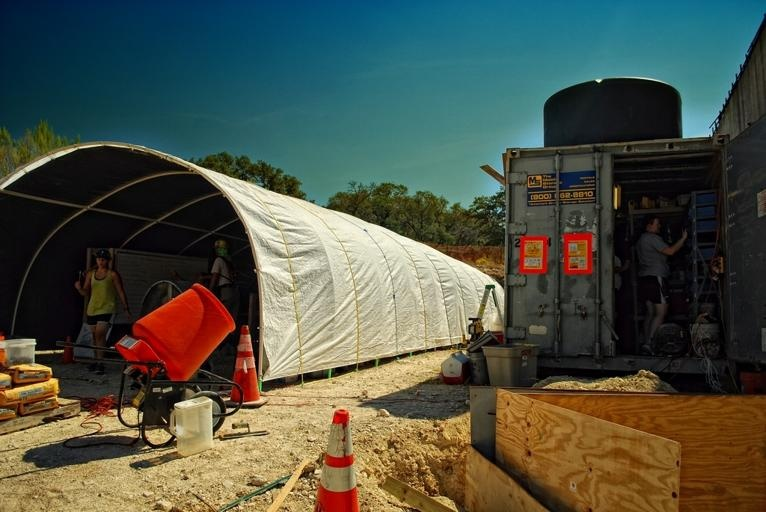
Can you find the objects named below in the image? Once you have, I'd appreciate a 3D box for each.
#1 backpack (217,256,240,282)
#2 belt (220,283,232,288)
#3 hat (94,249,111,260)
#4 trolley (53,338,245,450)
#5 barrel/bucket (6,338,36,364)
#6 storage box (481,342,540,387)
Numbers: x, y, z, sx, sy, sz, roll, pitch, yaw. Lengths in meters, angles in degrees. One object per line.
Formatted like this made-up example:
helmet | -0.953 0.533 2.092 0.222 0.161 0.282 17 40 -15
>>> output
backpack | -3.420 0.300 12.235 0.327 0.571 0.605 -4 -3 14
belt | -3.323 0.627 11.759 0.112 0.083 0.110 -2 2 4
hat | -5.991 -0.034 11.864 0.220 0.180 0.226 7 6 -7
trolley | -3.127 1.855 7.979 2.229 1.373 1.585 7 5 -14
barrel/bucket | -5.387 1.407 8.278 0.361 0.305 0.356 0 -2 0
storage box | 2.271 1.834 9.631 0.674 0.603 0.831 -2 -3 35
